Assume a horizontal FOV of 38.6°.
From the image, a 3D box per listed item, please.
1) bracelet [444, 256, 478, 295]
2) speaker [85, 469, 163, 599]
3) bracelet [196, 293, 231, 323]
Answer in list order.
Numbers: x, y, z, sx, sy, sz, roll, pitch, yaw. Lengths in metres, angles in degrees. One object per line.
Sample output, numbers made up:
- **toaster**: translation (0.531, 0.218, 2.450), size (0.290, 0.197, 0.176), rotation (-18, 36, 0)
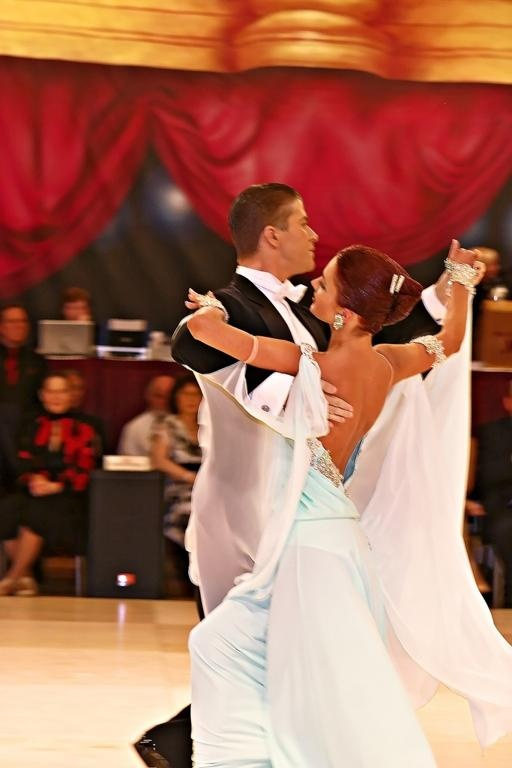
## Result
- **bracelet**: translation (0.569, -0.303, 2.043), size (0.083, 0.093, 0.046), rotation (19, 21, 18)
- **speaker**: translation (-0.538, 0.770, 3.703), size (0.570, 0.667, 0.517), rotation (0, -7, -5)
- **bracelet**: translation (-0.109, -0.184, 1.732), size (0.068, 0.037, 0.059), rotation (50, 12, 33)
